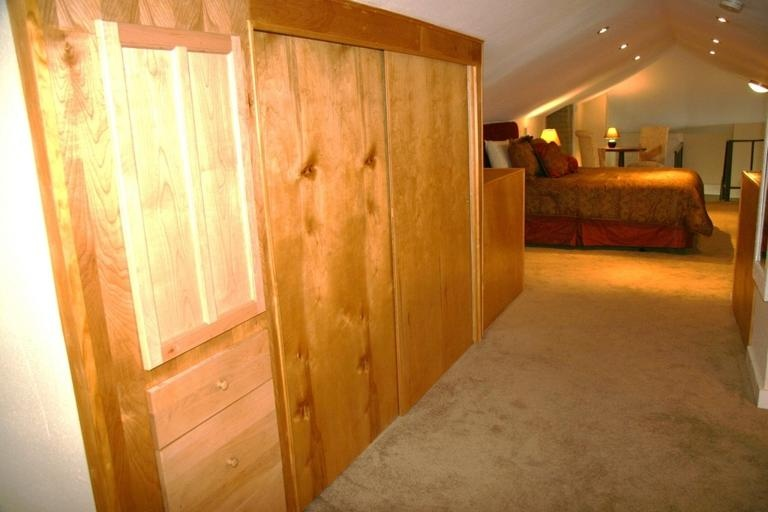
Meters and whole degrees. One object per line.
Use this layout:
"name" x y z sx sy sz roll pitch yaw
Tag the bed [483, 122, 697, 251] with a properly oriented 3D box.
"bed" 2.143 -0.612 5.740 2.043 1.099 1.360 1 21 16
